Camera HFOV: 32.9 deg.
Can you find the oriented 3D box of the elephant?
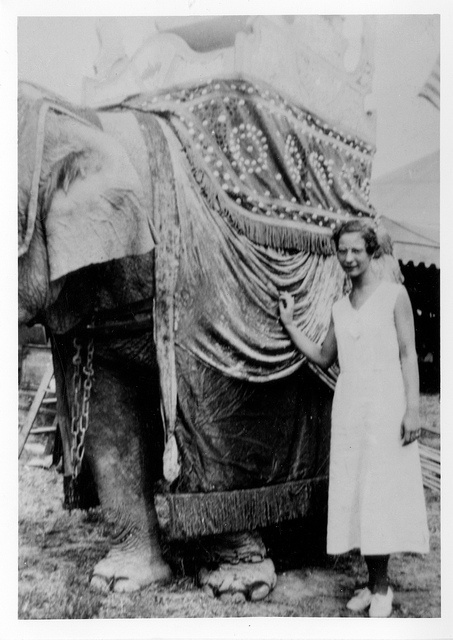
[{"bbox_3d":[-0.205,0.218,3.325,1.664,2.508,0.996,10,-13,-41],"label":"elephant"}]
